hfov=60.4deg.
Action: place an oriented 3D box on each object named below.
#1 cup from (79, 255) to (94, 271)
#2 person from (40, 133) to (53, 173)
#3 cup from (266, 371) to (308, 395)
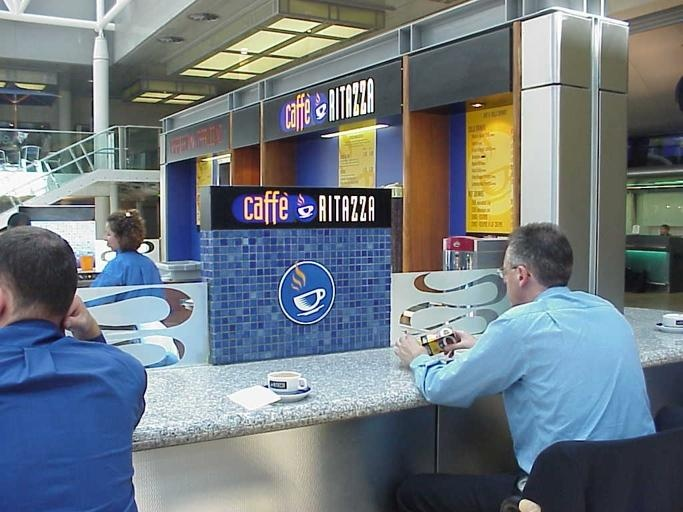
[{"bbox_3d":[-3.565,0.099,8.215,0.226,0.200,0.223,-1,-3,0],"label":"cup"},{"bbox_3d":[-6.498,-2.258,12.943,0.247,0.792,0.175,-5,10,-26],"label":"person"},{"bbox_3d":[-0.218,0.495,2.320,0.107,0.043,0.085,0,0,17],"label":"cup"}]
